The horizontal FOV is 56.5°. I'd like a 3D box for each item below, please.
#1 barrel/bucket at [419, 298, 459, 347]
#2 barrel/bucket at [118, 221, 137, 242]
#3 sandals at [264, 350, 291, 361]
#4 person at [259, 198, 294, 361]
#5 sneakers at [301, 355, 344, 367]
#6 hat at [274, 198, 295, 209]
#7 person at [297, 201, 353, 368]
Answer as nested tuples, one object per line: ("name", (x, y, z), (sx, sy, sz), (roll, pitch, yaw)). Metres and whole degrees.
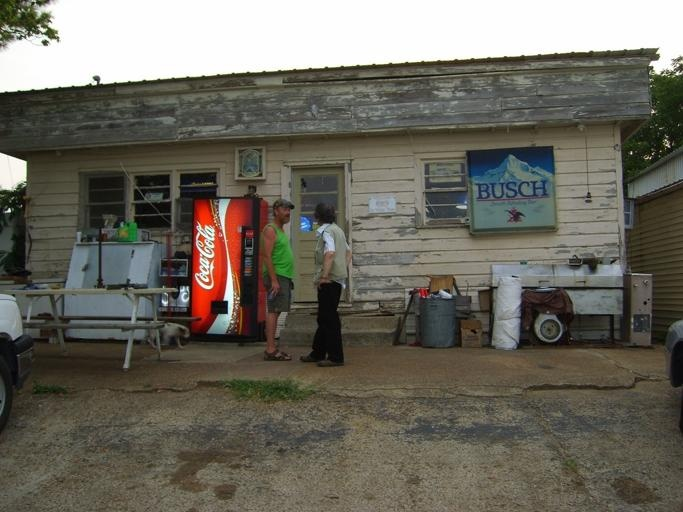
("barrel/bucket", (1.592, 1.012, 9.526), (0.727, 0.647, 0.648), (-1, -6, 2))
("barrel/bucket", (-3.480, -0.399, 10.404), (0.298, 0.326, 0.346), (0, 0, -18))
("sandals", (-0.810, 1.270, 8.162), (0.302, 0.096, 0.136), (-2, -5, 7))
("person", (-0.796, 0.301, 8.042), (0.390, 2.069, 0.481), (0, 0, -4))
("sneakers", (-0.253, 1.292, 7.784), (0.539, 0.188, 0.170), (-7, -8, 23))
("hat", (-0.720, -0.686, 8.105), (0.242, 0.099, 0.165), (-4, -3, 28))
("person", (-0.126, 0.337, 7.822), (0.536, 1.978, 0.473), (0, 0, -22))
